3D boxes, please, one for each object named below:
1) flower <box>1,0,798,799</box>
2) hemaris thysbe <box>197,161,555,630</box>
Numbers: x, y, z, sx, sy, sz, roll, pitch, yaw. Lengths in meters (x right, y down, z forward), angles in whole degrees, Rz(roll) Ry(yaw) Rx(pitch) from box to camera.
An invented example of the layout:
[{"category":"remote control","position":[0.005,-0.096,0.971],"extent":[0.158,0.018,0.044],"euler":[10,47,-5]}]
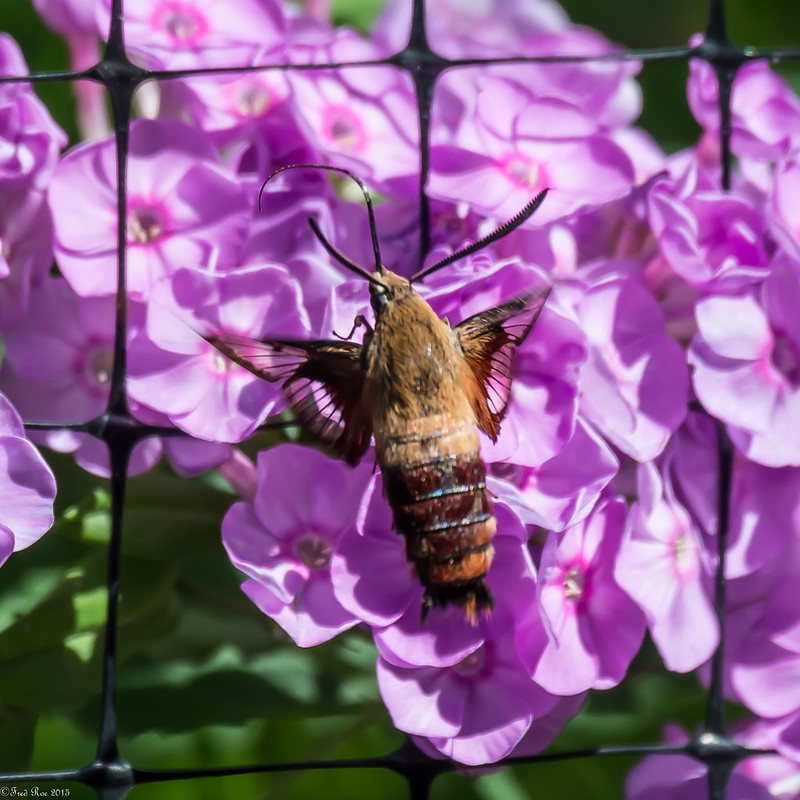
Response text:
[{"category":"flower","position":[0.018,-0.078,0.737],"extent":[0.426,0.335,0.526],"euler":[-2,83,-9]},{"category":"hemaris thysbe","position":[0.009,-0.016,0.569],"extent":[0.148,0.094,0.217],"euler":[-11,80,-2]}]
